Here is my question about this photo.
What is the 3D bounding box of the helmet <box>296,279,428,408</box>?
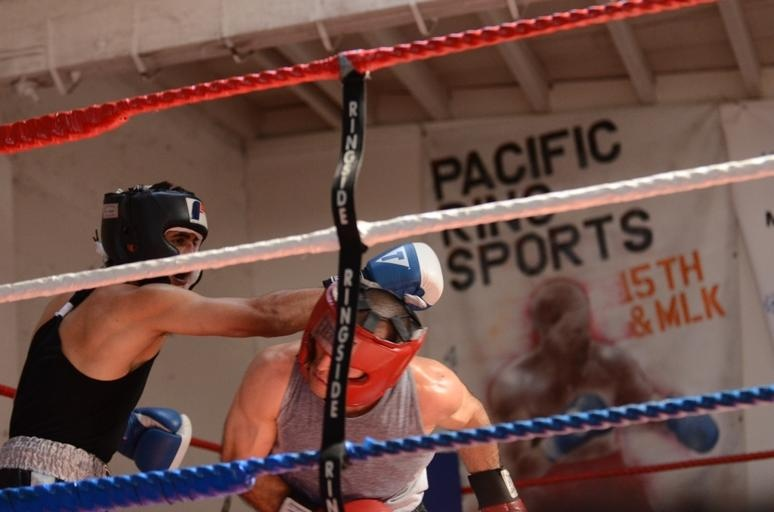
[{"bbox_3d":[-0.109,0.347,3.268,0.364,0.450,0.327,10,-18,-33],"label":"helmet"}]

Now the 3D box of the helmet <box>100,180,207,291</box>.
[{"bbox_3d":[-0.945,-0.075,3.733,0.499,0.400,0.414,-3,-12,8],"label":"helmet"}]

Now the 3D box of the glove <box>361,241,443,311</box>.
[{"bbox_3d":[0.046,0.062,3.422,0.327,0.207,0.311,-12,16,-12],"label":"glove"}]
